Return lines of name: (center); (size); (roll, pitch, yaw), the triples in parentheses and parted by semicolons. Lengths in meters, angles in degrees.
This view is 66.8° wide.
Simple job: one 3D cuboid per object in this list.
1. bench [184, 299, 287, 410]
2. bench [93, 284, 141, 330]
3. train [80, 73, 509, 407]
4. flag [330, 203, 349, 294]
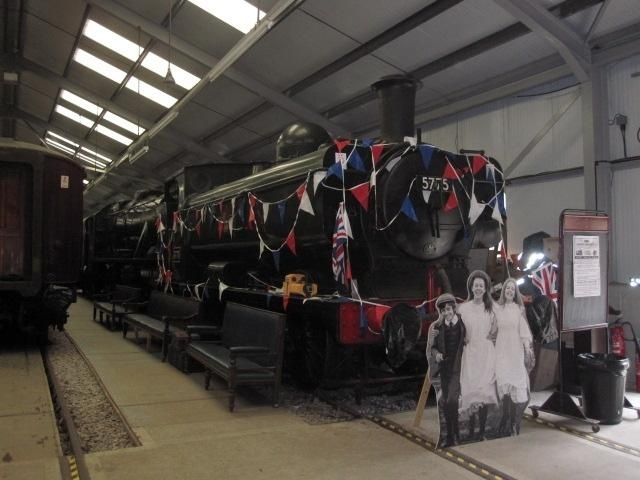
bench: (-1.150, 1.376, 6.084); (0.630, 1.085, 1.673); (6, -3, -33)
bench: (-4.434, 1.427, 10.483); (0.564, 0.849, 1.564); (3, -2, -36)
train: (-0.900, -0.127, 9.738); (3.119, 4.531, 10.133); (0, 0, -27)
flag: (0.230, 0.050, 5.328); (0.184, 0.937, 0.223); (0, 2, -14)
